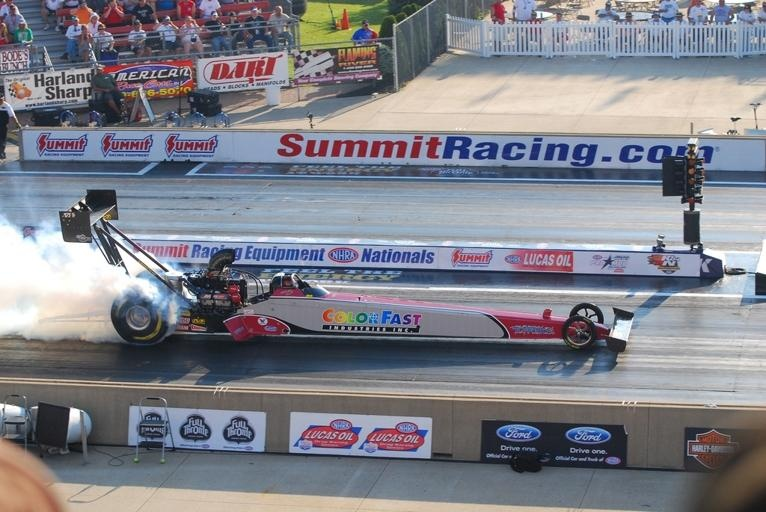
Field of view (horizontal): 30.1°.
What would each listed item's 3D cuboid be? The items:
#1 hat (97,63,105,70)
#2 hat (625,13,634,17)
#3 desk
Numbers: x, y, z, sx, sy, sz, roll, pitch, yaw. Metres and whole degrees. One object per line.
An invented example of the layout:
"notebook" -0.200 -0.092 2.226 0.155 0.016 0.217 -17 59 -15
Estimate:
"hat" -10.188 -6.749 51.340 0.300 0.070 0.266 0 30 -2
"hat" 9.653 -9.371 55.866 0.322 0.242 0.278 3 25 6
"desk" 10.186 -8.956 55.759 9.265 1.423 1.170 1 24 15
